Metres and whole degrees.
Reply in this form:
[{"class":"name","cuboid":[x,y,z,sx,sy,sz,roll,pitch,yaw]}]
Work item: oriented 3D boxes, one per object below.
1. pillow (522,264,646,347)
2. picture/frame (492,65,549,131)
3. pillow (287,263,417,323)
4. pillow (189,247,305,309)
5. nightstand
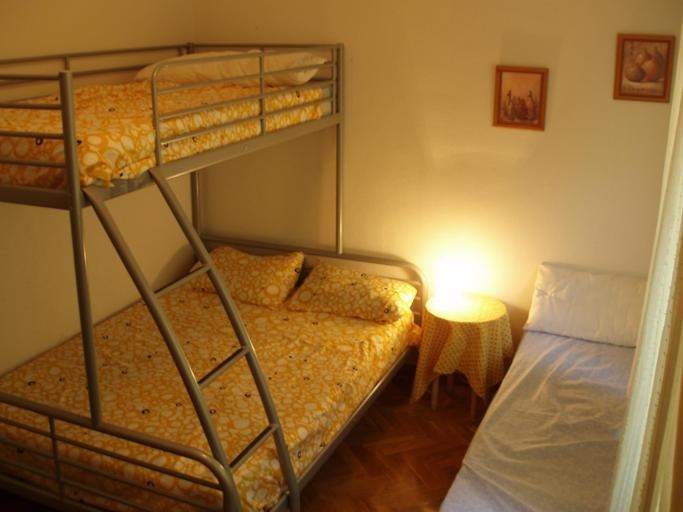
[{"class":"pillow","cuboid":[1.685,0.333,3.780,0.769,0.489,0.193,9,-2,20]},{"class":"picture/frame","cuboid":[1.232,-1.101,3.762,0.401,0.471,0.033,8,25,19]},{"class":"pillow","cuboid":[0.043,0.252,4.095,0.661,0.188,0.434,9,37,23]},{"class":"pillow","cuboid":[-0.782,0.160,4.432,0.910,0.236,0.689,4,36,0]},{"class":"nightstand","cuboid":[0.815,0.594,4.033,0.677,0.819,0.804,-5,27,-10]}]
